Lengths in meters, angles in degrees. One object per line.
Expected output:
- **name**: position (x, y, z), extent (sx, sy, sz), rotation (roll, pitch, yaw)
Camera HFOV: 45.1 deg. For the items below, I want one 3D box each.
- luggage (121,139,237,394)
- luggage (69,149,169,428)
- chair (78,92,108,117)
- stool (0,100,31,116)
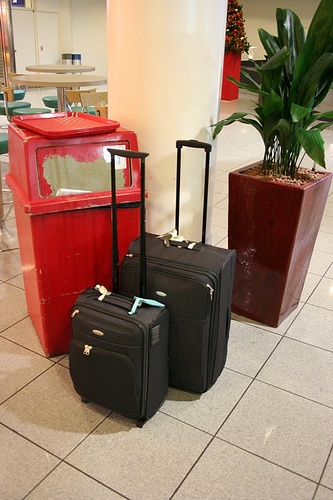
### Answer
- **luggage**: position (0.042, 0.087, 1.523), extent (0.400, 0.932, 0.265), rotation (11, 26, 23)
- **luggage**: position (-0.169, 0.149, 1.344), extent (0.331, 0.930, 0.199), rotation (9, 19, 23)
- **chair**: position (-0.688, -1.385, 3.829), extent (0.267, 0.227, 1.468), rotation (-3, 22, -10)
- **stool**: position (-1.932, -1.797, 5.028), extent (0.393, 0.131, 0.399), rotation (8, 20, 20)
